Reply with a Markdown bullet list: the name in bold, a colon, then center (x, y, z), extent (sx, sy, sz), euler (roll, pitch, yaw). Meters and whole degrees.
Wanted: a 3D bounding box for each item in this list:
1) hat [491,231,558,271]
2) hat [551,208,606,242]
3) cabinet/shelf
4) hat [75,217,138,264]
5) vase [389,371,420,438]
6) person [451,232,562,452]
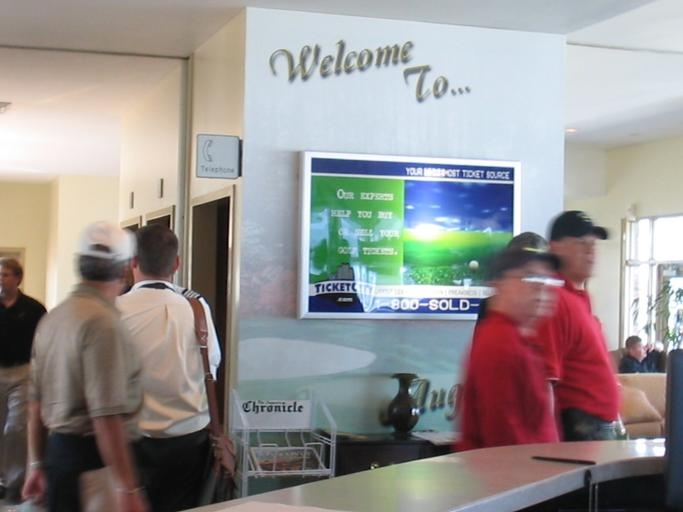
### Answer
- **hat**: center (0.768, 0.007, 2.686), extent (0.194, 0.216, 0.245), euler (5, -2, 44)
- **hat**: center (1.207, -0.147, 3.305), extent (0.226, 0.113, 0.158), euler (-12, 0, 14)
- **cabinet/shelf**: center (-0.388, 1.215, 4.098), extent (0.588, 0.695, 0.414), euler (5, -2, -19)
- **hat**: center (-0.815, -0.053, 2.231), extent (0.120, 0.083, 0.165), euler (15, 13, 12)
- **vase**: center (0.413, 0.977, 4.327), extent (0.202, 0.399, 0.226), euler (2, 5, 0)
- **person**: center (0.711, 0.369, 2.646), extent (0.328, 0.809, 0.492), euler (5, 6, 40)
